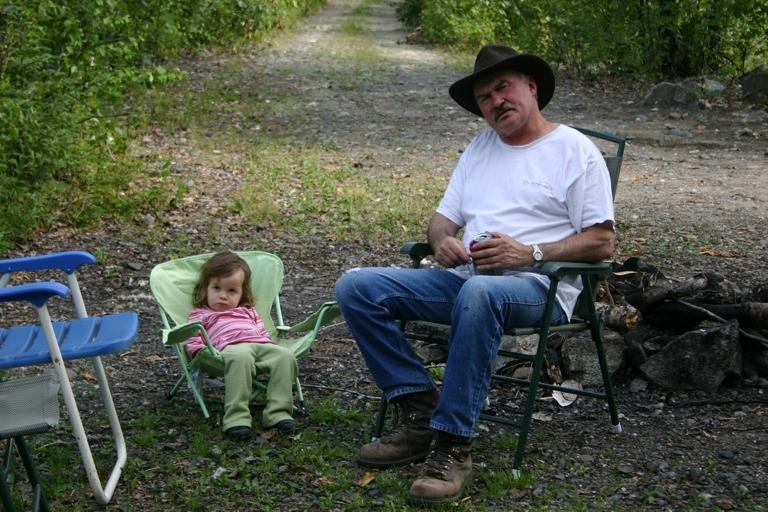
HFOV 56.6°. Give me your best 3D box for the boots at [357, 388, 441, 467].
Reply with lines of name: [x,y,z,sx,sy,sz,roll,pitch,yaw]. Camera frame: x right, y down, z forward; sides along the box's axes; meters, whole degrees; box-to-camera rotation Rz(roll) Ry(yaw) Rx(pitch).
boots: [0.070,1.119,4.656,0.652,0.405,0.271,4,-6,-43]

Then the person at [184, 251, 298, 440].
person: [-0.998,0.588,5.035,0.658,1.101,0.950,-3,15,-22]

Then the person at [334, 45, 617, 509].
person: [0.587,-0.029,4.716,1.608,2.720,1.181,-9,19,-38]

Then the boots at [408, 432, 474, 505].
boots: [0.348,1.282,4.327,0.267,0.364,0.373,10,16,26]
